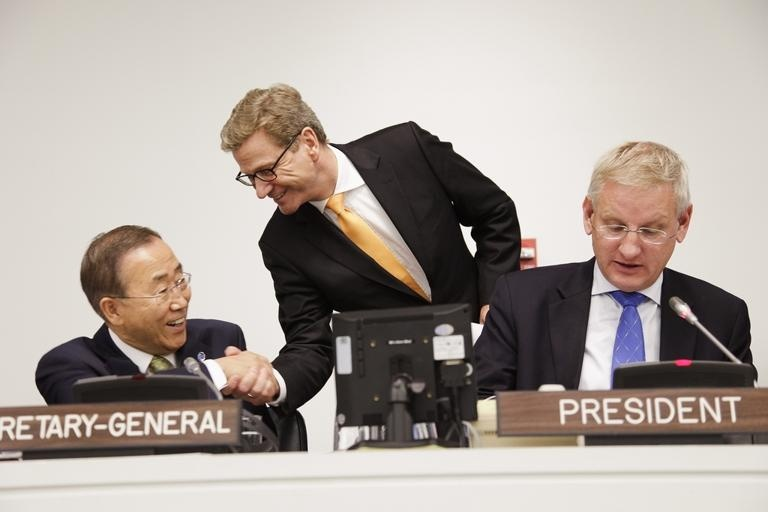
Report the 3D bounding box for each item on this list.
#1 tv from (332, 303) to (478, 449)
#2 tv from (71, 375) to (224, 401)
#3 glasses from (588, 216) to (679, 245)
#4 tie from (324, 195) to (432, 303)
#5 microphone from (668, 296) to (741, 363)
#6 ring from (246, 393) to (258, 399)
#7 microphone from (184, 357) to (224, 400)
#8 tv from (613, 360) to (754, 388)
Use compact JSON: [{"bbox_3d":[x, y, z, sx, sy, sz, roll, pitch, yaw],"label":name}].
[{"bbox_3d":[0.084,0.458,3.179,0.582,0.512,0.314,-1,-1,2],"label":"tv"},{"bbox_3d":[-0.896,0.486,3.158,0.504,0.105,0.055,-5,-15,7],"label":"tv"},{"bbox_3d":[1.023,-0.088,3.543,0.276,0.105,0.044,-5,-15,7],"label":"glasses"},{"bbox_3d":[-0.044,-0.026,4.259,0.147,0.713,0.084,-48,4,-6],"label":"tie"},{"bbox_3d":[1.310,0.317,3.536,0.056,0.350,0.049,-31,-42,-10],"label":"microphone"},{"bbox_3d":[-0.562,0.596,3.675,0.035,0.020,0.034,-3,-15,-1],"label":"ring"},{"bbox_3d":[-0.697,0.482,3.345,0.079,0.193,0.037,-32,-53,-3],"label":"microphone"},{"bbox_3d":[1.064,0.425,3.074,0.488,0.100,0.043,-3,-15,0],"label":"tv"}]
